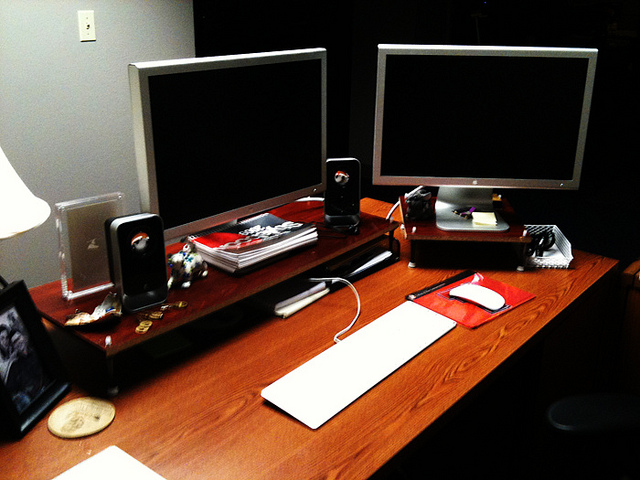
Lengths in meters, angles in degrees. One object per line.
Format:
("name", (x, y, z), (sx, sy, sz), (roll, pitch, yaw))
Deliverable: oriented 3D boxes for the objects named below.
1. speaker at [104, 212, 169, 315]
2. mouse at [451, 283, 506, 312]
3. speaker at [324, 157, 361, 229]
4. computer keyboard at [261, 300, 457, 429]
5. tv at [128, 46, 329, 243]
("speaker", (-0.515, 0.081, 1.439), (0.128, 0.288, 0.145), (21, 26, 34))
("mouse", (0.511, 0.172, 1.639), (0.128, 0.024, 0.080), (22, 36, 39))
("speaker", (0.078, -0.158, 1.860), (0.118, 0.259, 0.101), (30, 33, 35))
("computer keyboard", (0.154, 0.300, 1.433), (0.550, 0.007, 0.213), (-25, 34, -36))
("tv", (-0.248, -0.327, 1.636), (0.068, 0.495, 0.734), (23, 32, 36))
